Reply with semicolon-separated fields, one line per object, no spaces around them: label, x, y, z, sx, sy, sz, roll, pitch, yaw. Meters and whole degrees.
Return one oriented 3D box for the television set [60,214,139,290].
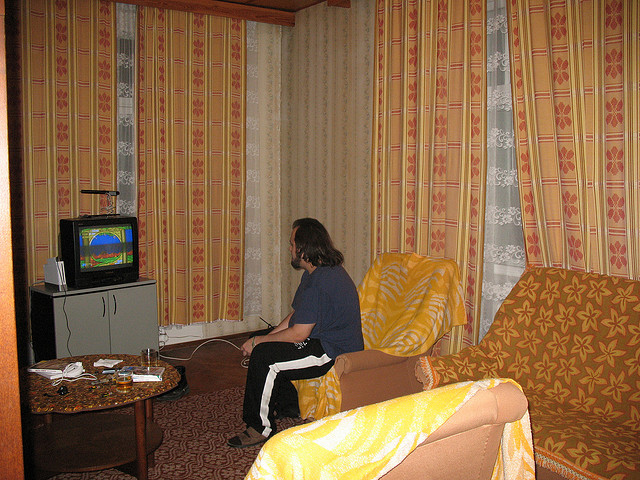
television set;-1.854;0.003;4.433;0.533;0.648;0.341;-7;28;-29

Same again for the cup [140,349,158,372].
cup;-1.033;0.711;3.108;0.088;0.119;0.111;1;6;-14

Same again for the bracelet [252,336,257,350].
bracelet;-0.435;0.671;3.386;0.020;0.067;0.054;6;-4;10

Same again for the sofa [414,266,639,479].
sofa;1.353;0.634;2.838;0.912;0.857;0.967;-5;8;-37

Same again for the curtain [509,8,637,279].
curtain;1.612;-0.659;3.232;0.696;1.786;0.089;-2;1;41

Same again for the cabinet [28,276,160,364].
cabinet;-1.870;0.667;4.305;0.995;0.717;0.420;-3;1;-30

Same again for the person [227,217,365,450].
person;-0.132;0.625;3.567;0.747;1.500;0.718;4;3;3

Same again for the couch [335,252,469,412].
couch;0.382;0.546;3.677;0.827;1.197;0.988;1;-6;-26

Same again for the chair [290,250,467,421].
chair;0.403;0.728;3.688;1.025;1.290;1.090;-1;3;-8

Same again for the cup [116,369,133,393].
cup;-1.097;0.791;2.912;0.082;0.107;0.093;1;-4;-1
